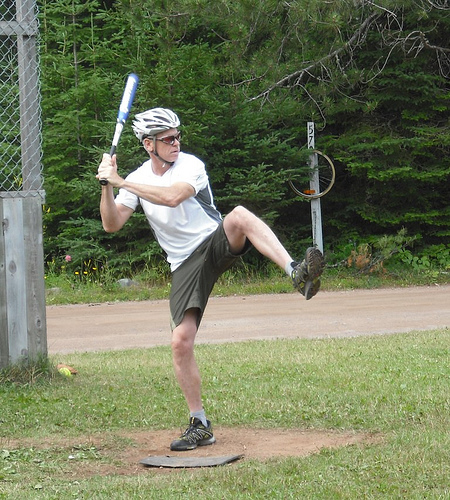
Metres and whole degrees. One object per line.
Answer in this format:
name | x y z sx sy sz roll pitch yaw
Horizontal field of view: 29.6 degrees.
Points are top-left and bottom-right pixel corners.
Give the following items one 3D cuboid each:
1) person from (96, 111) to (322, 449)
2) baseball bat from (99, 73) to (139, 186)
person | -0.192 0.191 6.030 1.557 2.389 0.651 -1 5 33
baseball bat | -0.826 -0.991 6.630 0.157 1.107 0.098 24 -35 -6
